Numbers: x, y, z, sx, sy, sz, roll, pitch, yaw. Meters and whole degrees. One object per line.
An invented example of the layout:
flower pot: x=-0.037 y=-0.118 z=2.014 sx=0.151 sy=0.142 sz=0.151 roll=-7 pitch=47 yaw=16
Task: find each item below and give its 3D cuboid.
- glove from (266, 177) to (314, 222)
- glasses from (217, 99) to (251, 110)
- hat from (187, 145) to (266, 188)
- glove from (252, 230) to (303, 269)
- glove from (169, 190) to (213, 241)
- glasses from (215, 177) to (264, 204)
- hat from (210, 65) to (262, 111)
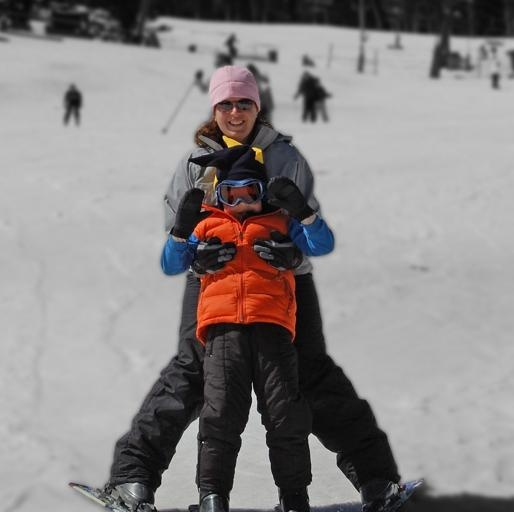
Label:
glove: x=0.195 y=-0.319 z=5.713 sx=0.290 sy=0.178 sz=0.113 roll=38 pitch=3 yaw=-28
glasses: x=-0.119 y=-0.892 z=6.083 sx=0.115 sy=0.027 sz=0.105 roll=-2 pitch=-3 yaw=3
hat: x=-0.154 y=-0.502 z=5.798 sx=0.347 sy=0.149 sz=0.227 roll=-12 pitch=28 yaw=-36
glove: x=0.107 y=-0.034 z=5.766 sx=0.078 sy=0.098 sz=0.254 roll=13 pitch=2 yaw=38
glove: x=-0.362 y=-0.234 z=5.741 sx=0.201 sy=0.271 sz=0.078 roll=22 pitch=20 yaw=-22
glasses: x=-0.083 y=-0.361 z=5.838 sx=0.224 sy=0.090 sz=0.170 roll=-1 pitch=-5 yaw=3
hat: x=-0.120 y=-1.013 z=6.250 sx=0.307 sy=0.210 sz=0.287 roll=-3 pitch=-9 yaw=-4
